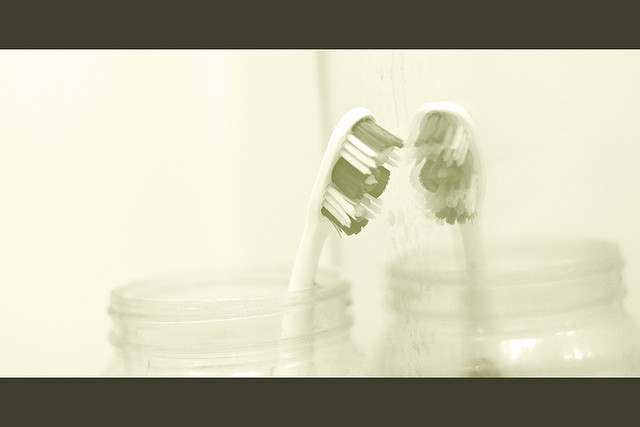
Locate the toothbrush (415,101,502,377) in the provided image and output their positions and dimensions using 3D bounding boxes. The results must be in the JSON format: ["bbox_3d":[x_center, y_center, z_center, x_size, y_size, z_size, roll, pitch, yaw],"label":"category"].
[{"bbox_3d":[0.204,0.038,1.108,0.133,0.402,0.054,1,-3,4],"label":"toothbrush"}]
